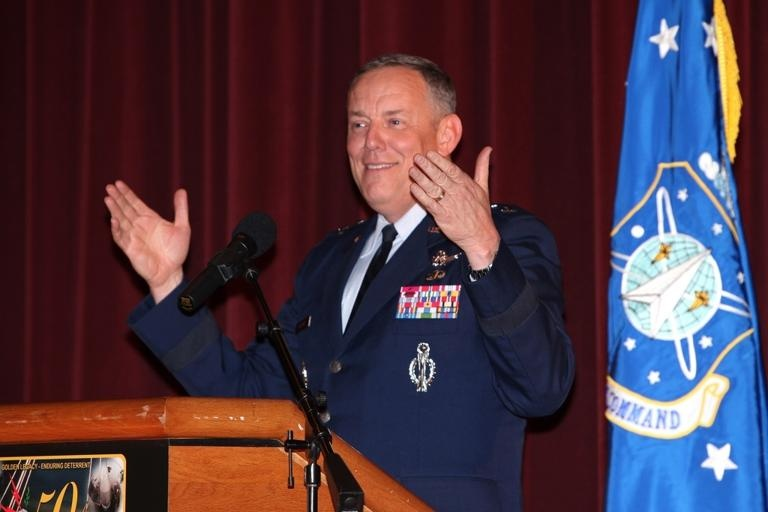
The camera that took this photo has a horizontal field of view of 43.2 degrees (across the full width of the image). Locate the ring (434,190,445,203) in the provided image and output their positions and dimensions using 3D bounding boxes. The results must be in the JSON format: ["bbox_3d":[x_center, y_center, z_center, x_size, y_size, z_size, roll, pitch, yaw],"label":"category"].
[{"bbox_3d":[0.176,-0.187,3.050,0.022,0.031,0.030,38,-6,-12],"label":"ring"}]

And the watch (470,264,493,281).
[{"bbox_3d":[0.319,0.045,3.083,0.050,0.057,0.051,3,5,4],"label":"watch"}]
